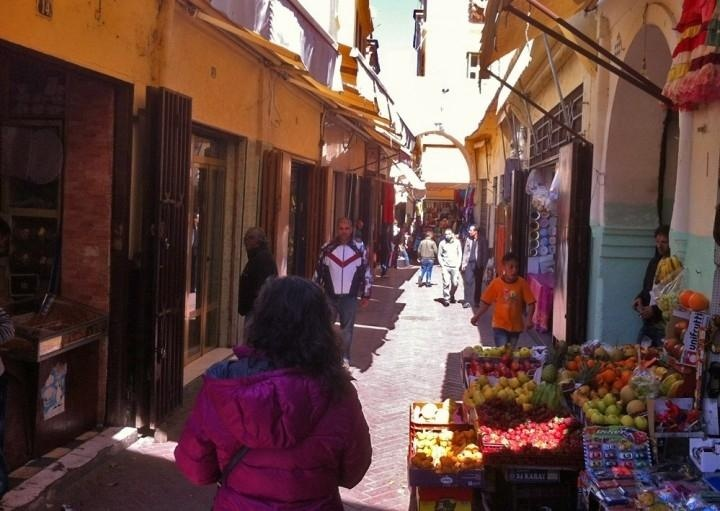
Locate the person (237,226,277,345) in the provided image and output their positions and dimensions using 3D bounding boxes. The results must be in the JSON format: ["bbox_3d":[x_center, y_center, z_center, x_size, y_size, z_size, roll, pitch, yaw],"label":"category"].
[{"bbox_3d":[-1.365,0.654,7.418,0.481,1.917,0.757,1,6,-21],"label":"person"}]

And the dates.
[{"bbox_3d":[1.404,1.493,4.667,0.847,0.284,0.669,3,-1,9],"label":"dates"}]
